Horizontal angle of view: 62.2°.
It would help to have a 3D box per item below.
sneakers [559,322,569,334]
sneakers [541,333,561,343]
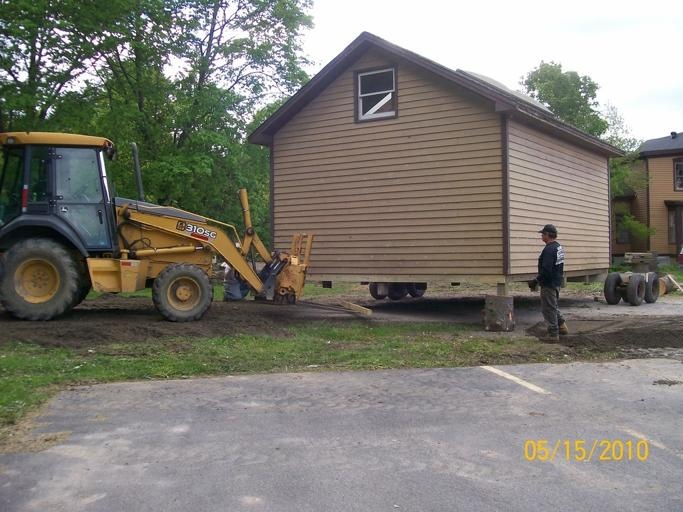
[{"bbox_3d":[4.256,1.381,10.673,0.200,0.213,0.534,-9,-17,21],"label":"sneakers"},{"bbox_3d":[3.733,1.481,10.199,0.441,0.156,0.144,2,0,21],"label":"sneakers"}]
